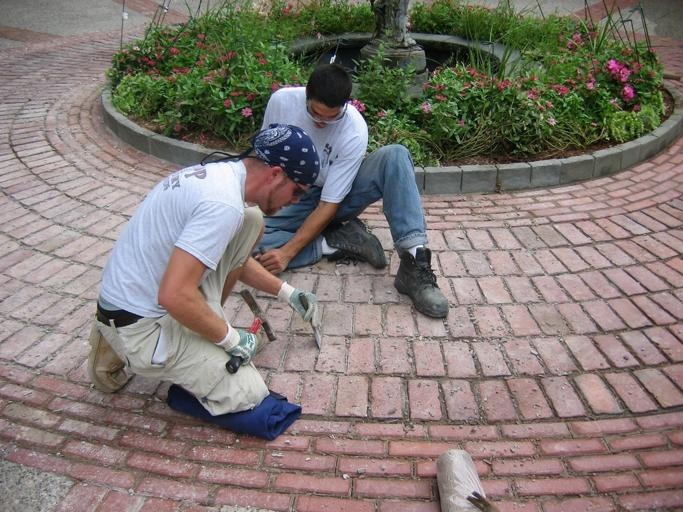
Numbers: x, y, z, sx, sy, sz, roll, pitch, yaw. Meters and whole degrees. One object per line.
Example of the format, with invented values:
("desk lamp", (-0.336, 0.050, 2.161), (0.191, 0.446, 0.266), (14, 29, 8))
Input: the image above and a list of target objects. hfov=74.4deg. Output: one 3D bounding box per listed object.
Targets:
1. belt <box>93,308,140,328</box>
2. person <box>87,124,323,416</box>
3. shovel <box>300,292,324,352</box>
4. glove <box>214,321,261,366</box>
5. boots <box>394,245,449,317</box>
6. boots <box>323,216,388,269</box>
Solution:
("belt", (-1.114, 0.294, 2.238), (0.142, 0.049, 0.137), (16, 16, 3))
("person", (-0.741, 0.073, 2.412), (0.994, 1.353, 1.058), (14, 41, 17))
("shovel", (-0.165, 0.397, 2.861), (0.116, 0.311, 0.191), (-5, 16, 26))
("glove", (-0.533, 0.468, 2.418), (0.103, 0.090, 0.281), (-4, 30, 23))
("boots", (0.547, 0.160, 3.109), (0.201, 0.385, 0.490), (-15, 40, -17))
("boots", (0.023, -0.154, 3.633), (0.697, 0.212, 0.304), (26, 22, 37))
